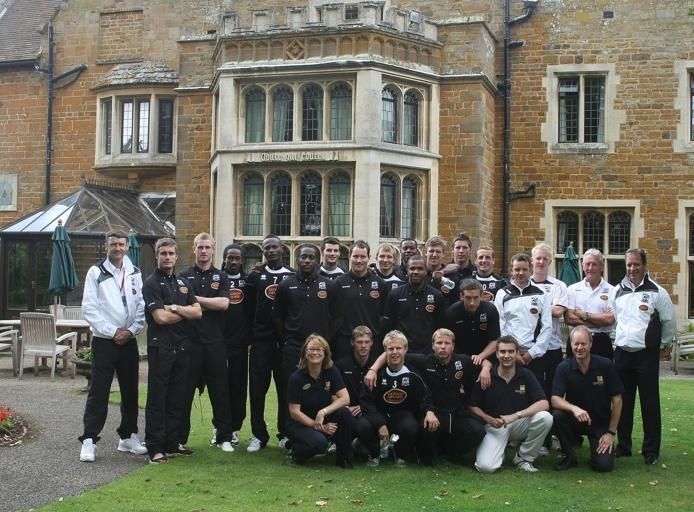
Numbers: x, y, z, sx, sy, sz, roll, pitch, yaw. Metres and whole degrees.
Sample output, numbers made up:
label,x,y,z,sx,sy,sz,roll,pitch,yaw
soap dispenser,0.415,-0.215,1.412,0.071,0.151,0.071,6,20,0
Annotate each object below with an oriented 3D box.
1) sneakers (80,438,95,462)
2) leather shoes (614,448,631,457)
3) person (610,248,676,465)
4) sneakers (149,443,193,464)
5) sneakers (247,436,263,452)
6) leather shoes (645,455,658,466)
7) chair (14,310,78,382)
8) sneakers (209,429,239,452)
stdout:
label,x,y,z,sx,sy,sz,roll,pitch,yaw
sneakers,-3.945,2.943,15.612,0.248,0.357,0.220,1,-4,-3
leather shoes,4.267,3.049,15.894,0.199,0.180,0.117,-1,-5,6
person,4.626,1.585,16.090,1.005,3.193,1.072,11,-9,-39
sneakers,-2.669,3.032,15.717,0.691,0.168,0.243,-9,15,-37
sneakers,-1.437,2.966,16.134,0.196,0.144,0.378,0,-7,-3
leather shoes,4.630,3.103,15.619,0.222,0.118,0.165,0,-4,5
chair,-6.133,1.835,20.988,1.241,1.222,1.223,0,-4,25
sneakers,-1.952,2.975,16.249,0.211,0.239,0.588,4,-14,-27
